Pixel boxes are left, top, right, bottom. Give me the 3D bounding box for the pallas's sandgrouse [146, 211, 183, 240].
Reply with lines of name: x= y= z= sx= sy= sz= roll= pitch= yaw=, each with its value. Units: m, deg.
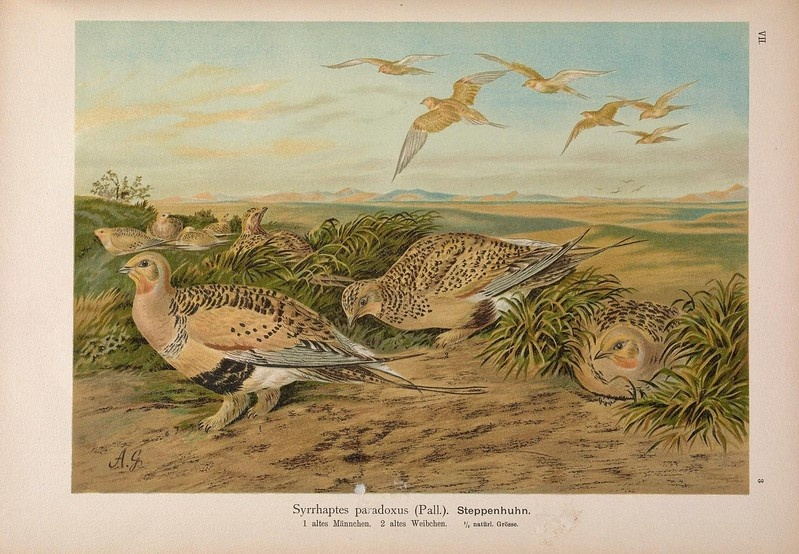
pallas's sandgrouse: x=-1.127 y=-0.251 z=5.216 sx=0.170 sy=0.126 sz=0.140 roll=-1 pitch=-8 yaw=27
